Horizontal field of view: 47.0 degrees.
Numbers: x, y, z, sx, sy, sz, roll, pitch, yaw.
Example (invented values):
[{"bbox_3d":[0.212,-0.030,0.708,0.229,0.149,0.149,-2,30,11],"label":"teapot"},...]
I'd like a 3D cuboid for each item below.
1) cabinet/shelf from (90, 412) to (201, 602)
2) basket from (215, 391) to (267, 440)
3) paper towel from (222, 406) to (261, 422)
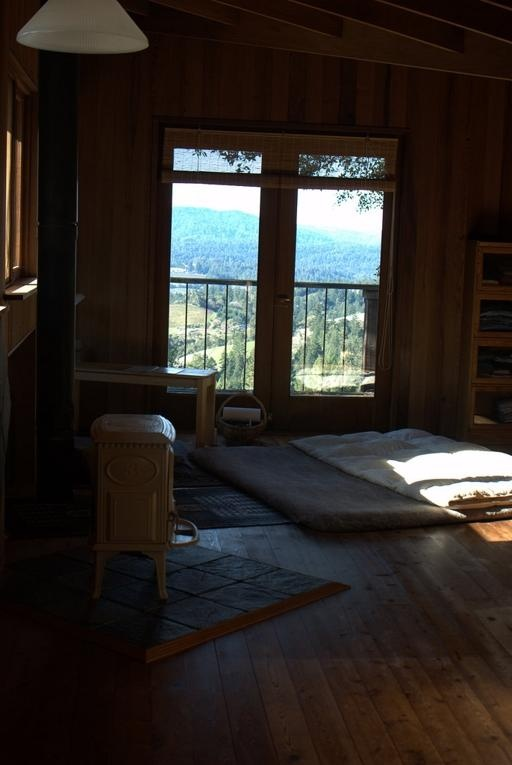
[{"bbox_3d":[-0.343,0.346,2.022,0.429,0.706,0.421,-1,9,-7],"label":"cabinet/shelf"},{"bbox_3d":[-0.109,0.276,4.555,0.366,0.437,0.353,2,8,5],"label":"basket"},{"bbox_3d":[-0.108,0.247,4.564,0.297,0.117,0.173,3,0,-7],"label":"paper towel"}]
